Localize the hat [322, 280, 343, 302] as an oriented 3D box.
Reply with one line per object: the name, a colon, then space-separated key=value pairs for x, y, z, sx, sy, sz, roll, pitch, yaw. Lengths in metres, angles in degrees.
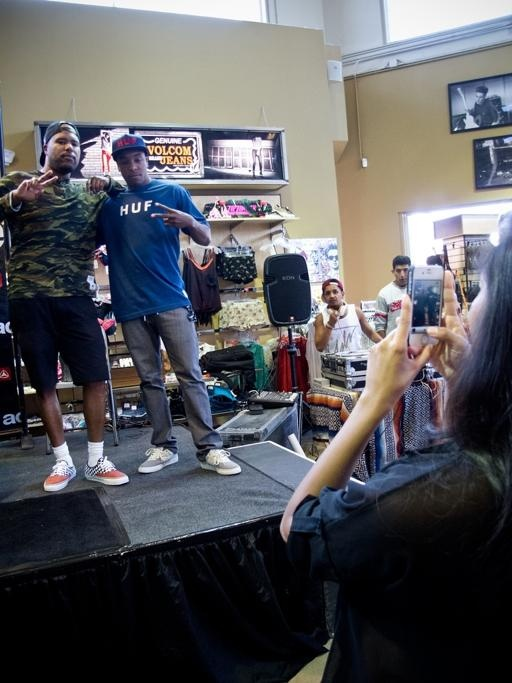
hat: x=0.651 y=-0.433 z=4.231 sx=0.169 sy=0.179 sz=0.205 roll=-3 pitch=-10 yaw=5

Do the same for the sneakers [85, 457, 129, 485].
sneakers: x=-0.684 y=0.596 z=2.252 sx=0.244 sy=0.102 sz=0.091 roll=-2 pitch=-3 yaw=43

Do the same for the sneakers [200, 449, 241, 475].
sneakers: x=-0.161 y=0.551 z=2.267 sx=0.089 sy=0.088 sz=0.211 roll=-3 pitch=0 yaw=-41

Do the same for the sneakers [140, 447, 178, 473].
sneakers: x=-0.491 y=0.590 z=2.425 sx=0.148 sy=0.108 sz=0.240 roll=-5 pitch=9 yaw=5

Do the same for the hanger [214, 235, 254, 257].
hanger: x=-0.288 y=-1.194 z=6.268 sx=0.388 sy=0.126 sz=0.381 roll=1 pitch=1 yaw=3

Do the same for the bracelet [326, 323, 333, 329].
bracelet: x=0.614 y=-0.126 z=4.060 sx=0.037 sy=0.039 sz=0.047 roll=9 pitch=11 yaw=41

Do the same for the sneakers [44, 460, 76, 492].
sneakers: x=-0.892 y=0.610 z=2.255 sx=0.071 sy=0.087 sz=0.207 roll=-1 pitch=-3 yaw=4
